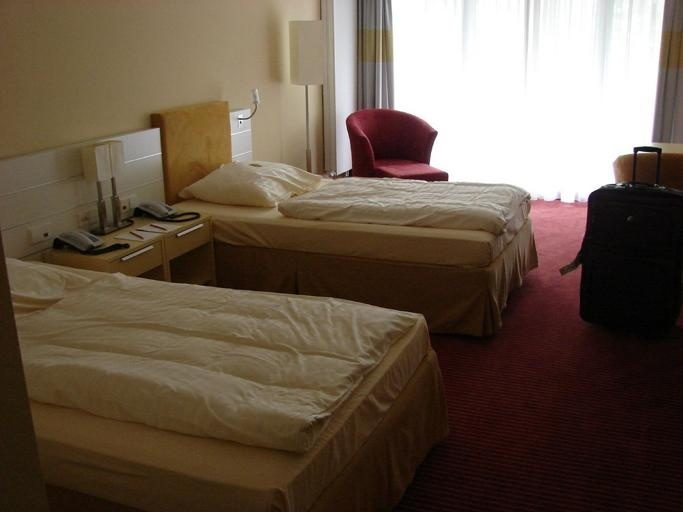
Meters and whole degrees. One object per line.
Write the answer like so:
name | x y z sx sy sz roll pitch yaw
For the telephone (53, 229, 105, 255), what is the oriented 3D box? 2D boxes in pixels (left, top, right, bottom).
telephone | -1.476 -0.097 3.022 0.211 0.075 0.133 10 21 16

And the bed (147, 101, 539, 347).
bed | 0.053 -0.506 4.174 2.574 1.382 1.493 6 27 24

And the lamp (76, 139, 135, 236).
lamp | -1.410 -0.428 3.289 0.209 0.548 0.458 -3 16 -7

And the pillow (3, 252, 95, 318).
pillow | -1.270 0.132 2.363 0.305 0.087 0.237 7 18 -3
